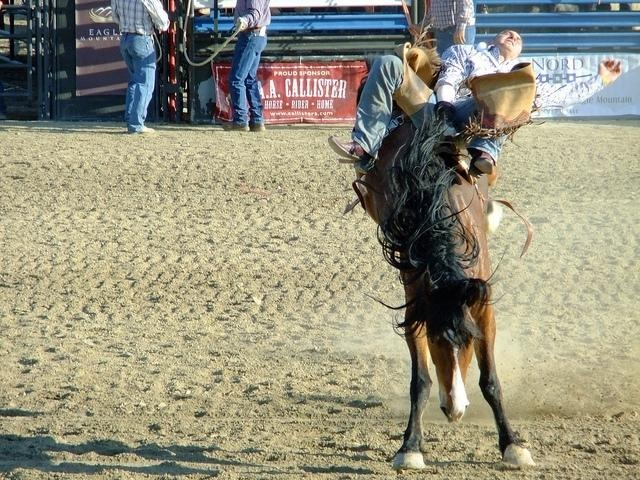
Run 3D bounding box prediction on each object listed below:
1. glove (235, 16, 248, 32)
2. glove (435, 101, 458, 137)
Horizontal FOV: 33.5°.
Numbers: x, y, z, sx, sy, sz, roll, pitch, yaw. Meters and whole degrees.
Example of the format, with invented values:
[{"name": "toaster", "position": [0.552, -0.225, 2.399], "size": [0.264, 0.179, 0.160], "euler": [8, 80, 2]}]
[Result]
[{"name": "glove", "position": [-1.127, -3.123, 15.281], "size": [0.149, 0.182, 0.196], "euler": [4, 15, 11]}, {"name": "glove", "position": [1.171, -1.117, 9.729], "size": [0.086, 0.292, 0.202], "euler": [-25, -14, 13]}]
